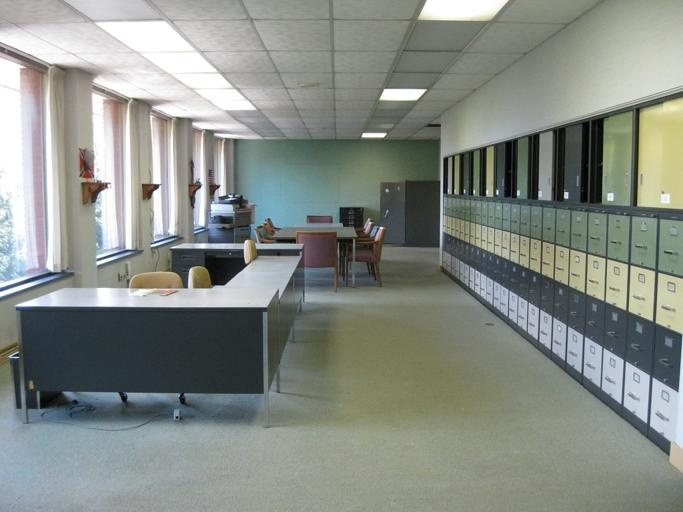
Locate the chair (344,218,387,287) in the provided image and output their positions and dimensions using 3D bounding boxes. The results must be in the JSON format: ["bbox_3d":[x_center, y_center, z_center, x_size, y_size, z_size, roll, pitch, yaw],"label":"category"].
[{"bbox_3d":[0.410,-0.109,8.997,0.891,1.578,1.159,1,3,0],"label":"chair"}]

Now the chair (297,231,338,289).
[{"bbox_3d":[-0.366,0.005,8.072,0.733,1.120,0.860,0,8,2],"label":"chair"}]

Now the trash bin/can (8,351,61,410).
[{"bbox_3d":[-2.510,0.987,3.963,0.334,0.550,0.336,-7,14,-32],"label":"trash bin/can"}]
